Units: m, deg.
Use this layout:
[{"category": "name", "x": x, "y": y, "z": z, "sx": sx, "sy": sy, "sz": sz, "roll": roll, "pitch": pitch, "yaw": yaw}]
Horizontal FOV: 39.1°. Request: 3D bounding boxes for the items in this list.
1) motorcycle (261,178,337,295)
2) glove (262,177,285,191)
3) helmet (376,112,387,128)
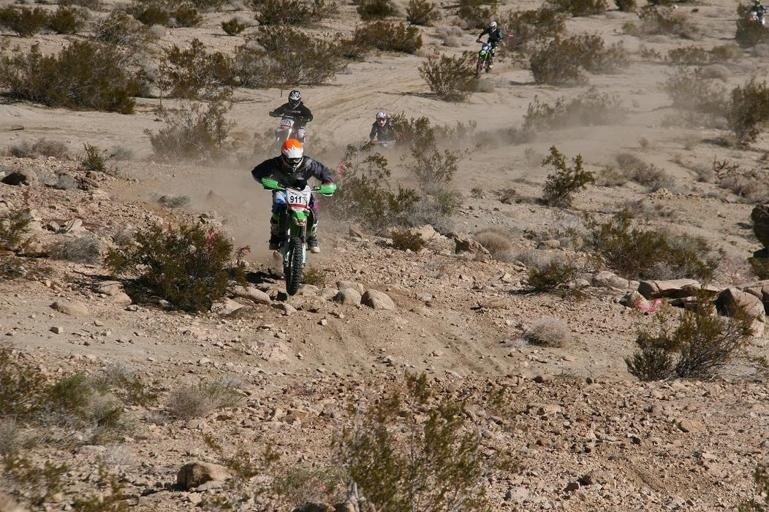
[{"category": "motorcycle", "x": -2.338, "y": -0.533, "z": 29.066, "sx": 1.280, "sy": 2.963, "sz": 1.200, "roll": -16, "pitch": 27, "yaw": -37}, {"category": "glove", "x": -2.969, "y": -1.861, "z": 28.736, "sx": 0.309, "sy": 0.176, "sz": 0.451, "roll": 14, "pitch": 2, "yaw": 16}, {"category": "helmet", "x": -0.115, "y": -4.794, "z": 38.445, "sx": 0.327, "sy": 0.496, "sz": 0.452, "roll": 2, "pitch": 1, "yaw": 0}]
